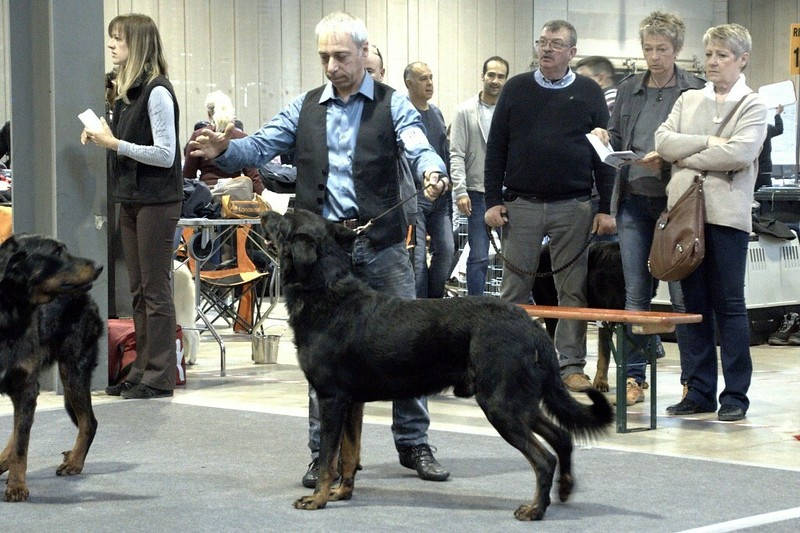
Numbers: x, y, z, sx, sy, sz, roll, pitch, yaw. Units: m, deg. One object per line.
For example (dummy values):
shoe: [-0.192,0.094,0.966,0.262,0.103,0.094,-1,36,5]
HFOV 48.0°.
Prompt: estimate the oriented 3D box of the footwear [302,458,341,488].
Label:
footwear: [-0.442,1.135,4.933,0.109,0.121,0.289,2,-9,6]

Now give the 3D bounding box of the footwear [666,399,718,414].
footwear: [2.073,1.016,6.419,0.359,0.145,0.130,2,-4,-4]

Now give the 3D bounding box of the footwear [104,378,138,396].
footwear: [-2.167,0.921,6.872,0.264,0.107,0.105,3,3,2]

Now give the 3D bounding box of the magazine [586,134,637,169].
magazine: [1.473,-0.782,6.162,0.341,0.141,0.187,7,2,-25]

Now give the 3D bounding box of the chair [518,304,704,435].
chair: [1.377,0.721,6.433,0.427,0.808,1.498,3,-2,-35]

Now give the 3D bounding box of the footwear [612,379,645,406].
footwear: [1.785,0.953,6.930,0.170,0.208,0.497,1,-1,32]

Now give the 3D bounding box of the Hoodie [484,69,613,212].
Hoodie: [1.165,-0.959,6.958,1.031,1.077,0.595,3,5,5]

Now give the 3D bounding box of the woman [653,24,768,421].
woman: [2.191,-0.279,6.267,0.696,2.761,0.848,4,-2,-26]

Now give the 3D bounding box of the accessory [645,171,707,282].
accessory: [1.898,-0.280,6.118,0.226,0.825,0.502,23,-29,-18]

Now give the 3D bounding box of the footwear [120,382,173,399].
footwear: [-1.917,0.941,6.751,0.352,0.132,0.131,5,-5,-12]

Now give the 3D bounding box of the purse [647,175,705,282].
purse: [1.893,-0.260,6.104,0.221,0.784,0.477,23,-31,-17]

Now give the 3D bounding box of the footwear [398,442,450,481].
footwear: [0.131,1.105,5.141,0.130,0.134,0.344,-5,3,-32]

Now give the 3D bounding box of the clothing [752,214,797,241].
clothing: [3.967,-0.395,9.507,0.384,0.129,0.303,9,2,-7]

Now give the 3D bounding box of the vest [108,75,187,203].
vest: [-1.917,-0.947,6.775,0.499,0.965,0.449,0,4,-18]

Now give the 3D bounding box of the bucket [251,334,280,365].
bucket: [-1.267,0.780,8.415,0.274,0.250,0.261,0,-3,0]
